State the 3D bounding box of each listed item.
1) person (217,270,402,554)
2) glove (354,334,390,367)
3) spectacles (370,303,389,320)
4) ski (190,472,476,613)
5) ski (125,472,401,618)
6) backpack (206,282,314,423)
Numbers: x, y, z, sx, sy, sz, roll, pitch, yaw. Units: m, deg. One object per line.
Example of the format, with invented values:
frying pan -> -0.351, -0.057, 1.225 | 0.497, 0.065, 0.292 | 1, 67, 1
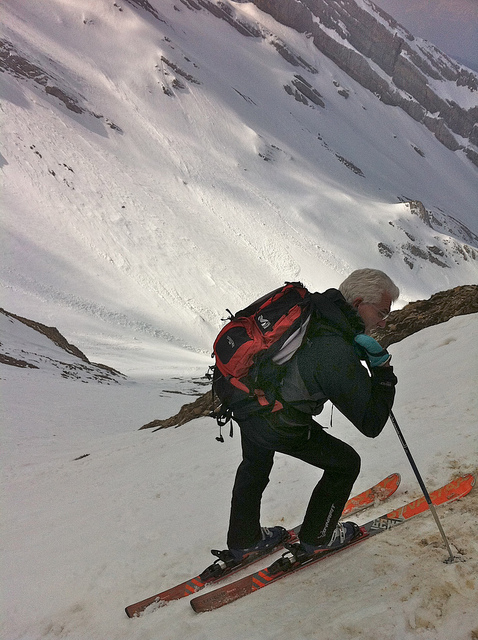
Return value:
person -> 0.491, 0.785, 4.323 | 1.404, 2.151, 0.989 | 3, 14, 11
glove -> 0.849, 0.185, 3.754 | 0.186, 0.218, 0.171 | -3, 9, 16
spectacles -> 0.965, -0.049, 3.952 | 0.240, 0.095, 0.070 | 1, 31, -41
ski -> 0.771, 1.744, 4.475 | 0.254, 2.347, 0.144 | 104, -34, -82
ski -> 0.229, 1.877, 4.759 | 0.246, 2.456, 0.168 | 88, -21, -87
backpack -> 0.184, 0.083, 4.092 | 0.373, 0.990, 0.731 | 48, 16, -31
